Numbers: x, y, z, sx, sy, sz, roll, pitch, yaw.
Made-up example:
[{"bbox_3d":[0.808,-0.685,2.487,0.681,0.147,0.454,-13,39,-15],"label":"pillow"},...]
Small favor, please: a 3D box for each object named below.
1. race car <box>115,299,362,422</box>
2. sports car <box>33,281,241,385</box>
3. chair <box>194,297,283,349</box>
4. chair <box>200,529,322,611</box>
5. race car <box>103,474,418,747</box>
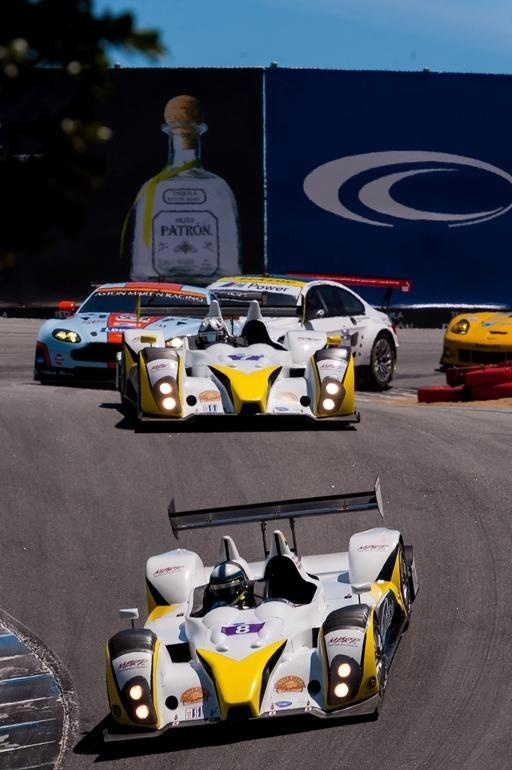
[{"bbox_3d":[-0.471,-0.314,10.973,2.709,1.128,3.665,1,5,-9],"label":"race car"},{"bbox_3d":[-1.852,-0.991,14.457,2.981,1.560,4.896,3,4,-1],"label":"sports car"},{"bbox_3d":[-0.317,-0.800,11.335,0.829,0.738,0.850,-7,5,-9],"label":"chair"},{"bbox_3d":[0.032,1.237,5.658,0.443,0.293,0.704,-12,3,4],"label":"chair"},{"bbox_3d":[0.073,1.447,5.982,1.757,0.915,2.776,-10,-1,10],"label":"race car"}]
